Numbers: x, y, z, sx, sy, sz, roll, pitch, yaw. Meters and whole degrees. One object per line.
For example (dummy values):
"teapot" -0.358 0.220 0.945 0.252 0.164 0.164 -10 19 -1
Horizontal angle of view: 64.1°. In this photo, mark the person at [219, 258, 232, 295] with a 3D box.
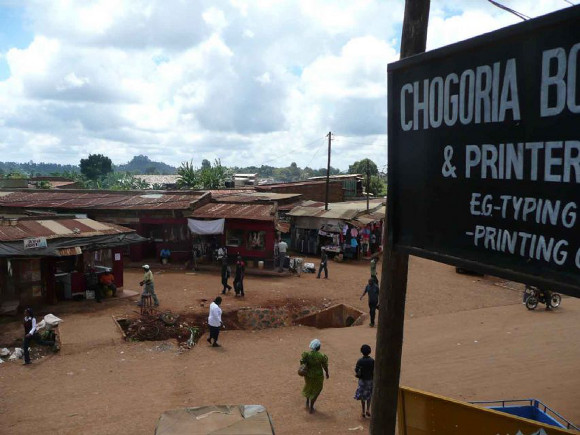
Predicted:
"person" -3.068 2.775 22.268 0.416 1.614 1.140 -1 7 -7

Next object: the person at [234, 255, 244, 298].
"person" -2.409 2.737 21.937 0.482 1.722 1.470 -1 7 -7

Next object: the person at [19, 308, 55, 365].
"person" -7.999 3.588 14.585 0.787 1.479 1.371 -4 8 -31

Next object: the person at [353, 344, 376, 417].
"person" 1.797 3.956 11.160 0.395 1.893 0.677 2 7 11

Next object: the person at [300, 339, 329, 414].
"person" 0.582 3.954 11.718 0.719 1.842 0.682 0 7 1

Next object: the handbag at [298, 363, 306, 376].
"handbag" 0.316 3.775 11.484 0.196 0.387 0.260 0 7 1

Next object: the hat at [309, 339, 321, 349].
"hat" 0.641 3.176 11.582 0.233 0.264 0.143 -1 7 -14

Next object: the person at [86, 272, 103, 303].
"person" -8.413 2.919 19.911 0.628 1.224 1.079 -3 7 -23
